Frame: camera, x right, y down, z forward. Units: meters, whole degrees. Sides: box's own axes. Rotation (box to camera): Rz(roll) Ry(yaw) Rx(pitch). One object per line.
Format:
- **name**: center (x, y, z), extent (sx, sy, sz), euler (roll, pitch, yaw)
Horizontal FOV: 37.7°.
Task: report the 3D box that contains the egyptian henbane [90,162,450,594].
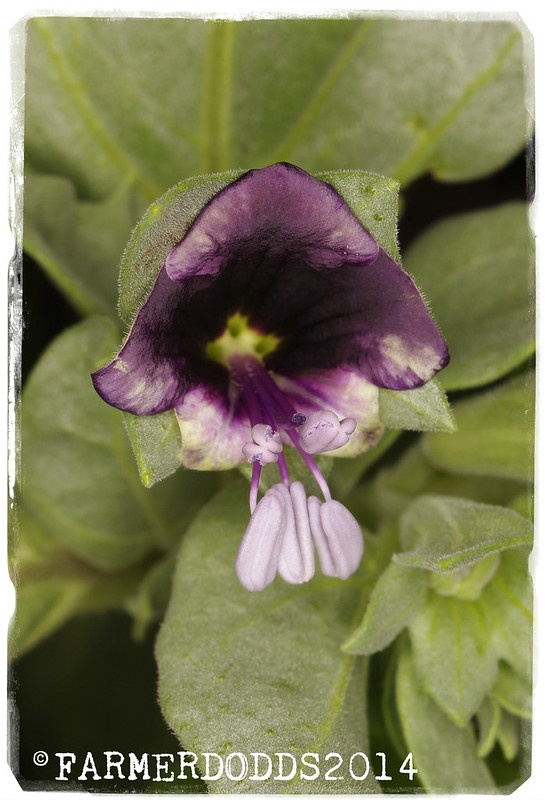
- **egyptian henbane**: center (0.032, -0.018, 0.911), extent (0.320, 0.399, 0.306), euler (31, 68, 16)
